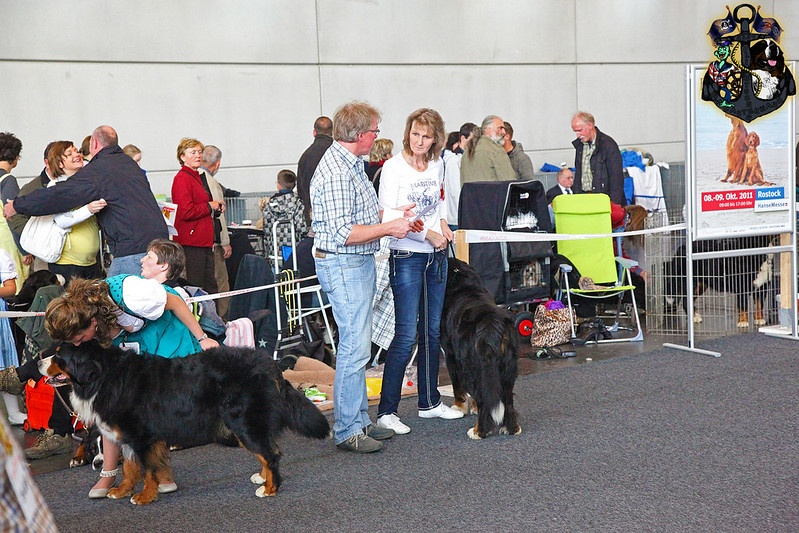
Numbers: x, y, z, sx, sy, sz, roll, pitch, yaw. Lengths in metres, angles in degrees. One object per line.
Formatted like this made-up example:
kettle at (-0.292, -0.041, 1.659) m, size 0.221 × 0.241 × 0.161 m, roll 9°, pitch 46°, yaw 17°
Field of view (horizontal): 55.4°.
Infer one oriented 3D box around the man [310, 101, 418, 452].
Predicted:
man at (-0.276, 0.085, 5.377) m, size 0.555 × 2.433 × 0.506 m, roll -8°, pitch 14°, yaw -26°

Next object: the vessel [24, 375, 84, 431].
vessel at (-2.585, 1.018, 5.747) m, size 0.408 × 0.556 × 0.401 m, roll 2°, pitch 3°, yaw -6°

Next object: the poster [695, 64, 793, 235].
poster at (3.168, -1.149, 7.076) m, size 1.463 × 2.095 × 0.128 m, roll -2°, pitch 2°, yaw -26°

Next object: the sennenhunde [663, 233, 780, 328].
sennenhunde at (3.406, 0.087, 8.360) m, size 1.267 × 1.148 × 0.923 m, roll 0°, pitch -4°, yaw -29°

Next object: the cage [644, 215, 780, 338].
cage at (3.416, 0.133, 8.376) m, size 1.423 × 1.149 × 1.042 m, roll 0°, pitch -3°, yaw 2°
